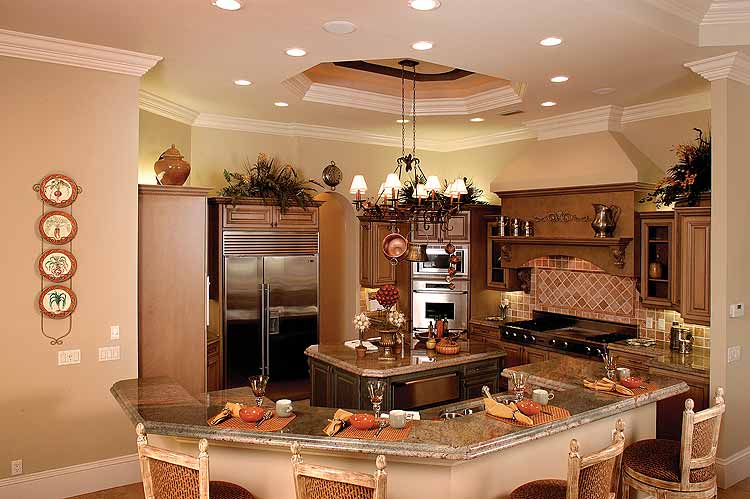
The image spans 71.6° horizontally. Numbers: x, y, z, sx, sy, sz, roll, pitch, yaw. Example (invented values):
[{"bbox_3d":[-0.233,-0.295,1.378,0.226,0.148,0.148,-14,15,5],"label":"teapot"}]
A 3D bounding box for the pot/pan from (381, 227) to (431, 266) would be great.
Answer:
[{"bbox_3d":[0.378,-0.059,6.635,0.508,0.422,1.028,-2,-1,4],"label":"pot/pan"}]

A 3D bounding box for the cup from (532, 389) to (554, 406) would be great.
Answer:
[{"bbox_3d":[1.465,1.295,4.542,0.182,0.112,0.136,1,-3,5],"label":"cup"}]

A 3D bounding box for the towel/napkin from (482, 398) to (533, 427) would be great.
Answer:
[{"bbox_3d":[1.070,1.325,4.259,0.219,0.073,0.178,20,17,31],"label":"towel/napkin"}]

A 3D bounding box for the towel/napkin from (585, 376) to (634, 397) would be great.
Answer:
[{"bbox_3d":[2.129,1.264,4.794,0.167,0.059,0.255,0,1,-36],"label":"towel/napkin"}]

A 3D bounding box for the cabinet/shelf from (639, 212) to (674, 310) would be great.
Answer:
[{"bbox_3d":[3.572,0.118,6.513,0.259,0.992,0.548,-3,0,-15],"label":"cabinet/shelf"}]

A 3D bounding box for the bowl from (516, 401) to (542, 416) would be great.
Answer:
[{"bbox_3d":[1.262,1.291,4.270,0.130,0.076,0.126,2,3,0],"label":"bowl"}]

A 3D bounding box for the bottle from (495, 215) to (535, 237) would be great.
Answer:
[{"bbox_3d":[2.066,-0.358,7.764,0.189,0.280,0.552,-3,0,-44],"label":"bottle"}]

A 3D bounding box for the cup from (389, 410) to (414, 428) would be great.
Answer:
[{"bbox_3d":[0.192,1.334,4.198,0.188,0.133,0.283,-2,-1,1],"label":"cup"}]

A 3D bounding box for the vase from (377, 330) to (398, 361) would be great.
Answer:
[{"bbox_3d":[0.139,1.117,6.202,0.291,0.324,0.287,0,-4,0],"label":"vase"}]

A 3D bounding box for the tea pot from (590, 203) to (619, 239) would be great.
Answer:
[{"bbox_3d":[3.023,-0.388,6.826,0.324,0.364,0.177,-3,0,24],"label":"tea pot"}]

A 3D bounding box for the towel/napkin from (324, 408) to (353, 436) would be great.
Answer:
[{"bbox_3d":[-0.315,1.360,4.093,0.110,0.072,0.180,2,6,19],"label":"towel/napkin"}]

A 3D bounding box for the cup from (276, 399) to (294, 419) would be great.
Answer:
[{"bbox_3d":[-0.765,1.310,4.346,0.154,0.145,0.196,-2,0,-11],"label":"cup"}]

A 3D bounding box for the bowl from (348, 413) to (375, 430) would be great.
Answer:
[{"bbox_3d":[-0.106,1.346,4.077,0.126,0.053,0.125,1,1,0],"label":"bowl"}]

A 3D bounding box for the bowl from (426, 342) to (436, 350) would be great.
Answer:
[{"bbox_3d":[0.675,1.168,6.343,0.092,0.082,0.090,0,-4,0],"label":"bowl"}]

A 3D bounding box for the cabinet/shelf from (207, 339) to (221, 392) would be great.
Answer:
[{"bbox_3d":[-2.167,1.522,6.877,0.142,0.725,0.272,-2,0,11],"label":"cabinet/shelf"}]

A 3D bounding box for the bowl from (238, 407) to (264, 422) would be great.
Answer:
[{"bbox_3d":[-1.007,1.325,4.204,0.197,0.126,0.149,-3,0,14],"label":"bowl"}]

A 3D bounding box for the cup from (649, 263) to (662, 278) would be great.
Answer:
[{"bbox_3d":[3.536,0.262,6.577,0.173,0.199,0.169,0,3,0],"label":"cup"}]

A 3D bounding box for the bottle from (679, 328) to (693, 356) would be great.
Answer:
[{"bbox_3d":[3.766,1.098,6.311,0.112,0.240,0.273,-2,0,37],"label":"bottle"}]

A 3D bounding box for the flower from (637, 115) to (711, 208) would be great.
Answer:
[{"bbox_3d":[3.657,-1.001,6.145,0.738,0.746,1.095,-2,0,12],"label":"flower"}]

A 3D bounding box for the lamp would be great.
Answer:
[{"bbox_3d":[0.383,-1.243,6.158,1.314,1.769,1.297,1,7,11],"label":"lamp"}]

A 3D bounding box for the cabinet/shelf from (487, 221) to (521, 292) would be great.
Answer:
[{"bbox_3d":[2.058,0.078,8.224,0.354,1.164,0.546,-2,4,-34],"label":"cabinet/shelf"}]

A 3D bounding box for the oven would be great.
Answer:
[{"bbox_3d":[1.029,0.718,8.499,0.955,1.620,0.657,0,3,6],"label":"oven"}]

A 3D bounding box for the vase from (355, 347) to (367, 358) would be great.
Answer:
[{"bbox_3d":[-0.185,1.200,6.117,0.118,0.123,0.119,-2,-3,25],"label":"vase"}]

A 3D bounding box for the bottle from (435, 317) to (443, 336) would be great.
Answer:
[{"bbox_3d":[0.807,0.993,6.612,0.116,0.226,0.208,-3,0,-6],"label":"bottle"}]

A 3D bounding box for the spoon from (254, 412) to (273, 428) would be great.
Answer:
[{"bbox_3d":[-0.905,1.371,4.206,0.040,0.027,0.189,20,19,9],"label":"spoon"}]

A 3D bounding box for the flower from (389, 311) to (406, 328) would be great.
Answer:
[{"bbox_3d":[0.254,0.848,6.366,0.176,0.188,0.246,-2,0,10],"label":"flower"}]

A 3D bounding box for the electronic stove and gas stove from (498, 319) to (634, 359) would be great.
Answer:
[{"bbox_3d":[2.690,1.200,7.365,0.791,0.499,1.681,-2,-1,-40],"label":"electronic stove and gas stove"}]
